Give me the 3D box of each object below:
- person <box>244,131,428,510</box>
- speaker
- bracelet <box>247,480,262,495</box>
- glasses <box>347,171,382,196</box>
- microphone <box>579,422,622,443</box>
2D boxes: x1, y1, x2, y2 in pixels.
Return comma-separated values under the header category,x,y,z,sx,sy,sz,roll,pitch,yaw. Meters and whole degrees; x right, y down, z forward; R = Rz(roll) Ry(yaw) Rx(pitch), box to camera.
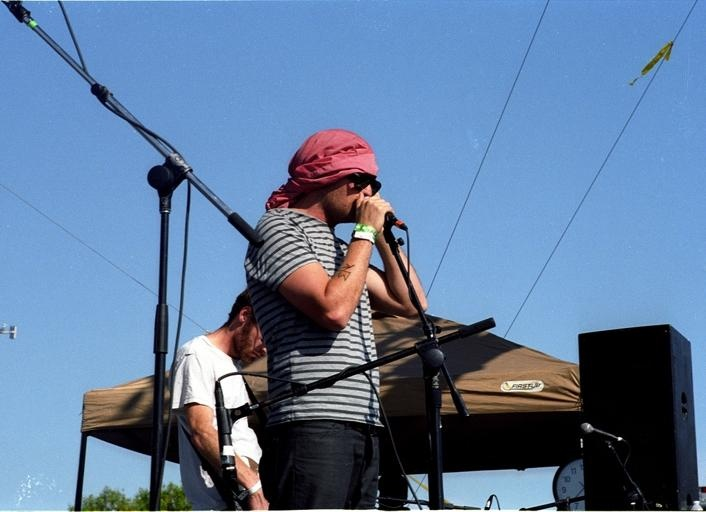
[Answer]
category,x,y,z,sx,sy,sz,roll,pitch,yaw
person,-0.138,0.314,4.355,0.835,1.881,0.672,2,-27,-4
speaker,1.827,1.046,5.436,0.806,1.103,0.679,-8,-28,14
bracelet,-0.574,1.356,5.020,0.100,0.049,0.084,-35,8,-6
glasses,0.066,-0.383,4.439,0.135,0.046,0.132,-5,-14,40
microphone,1.551,1.109,5.392,0.286,0.078,0.101,17,-1,8
